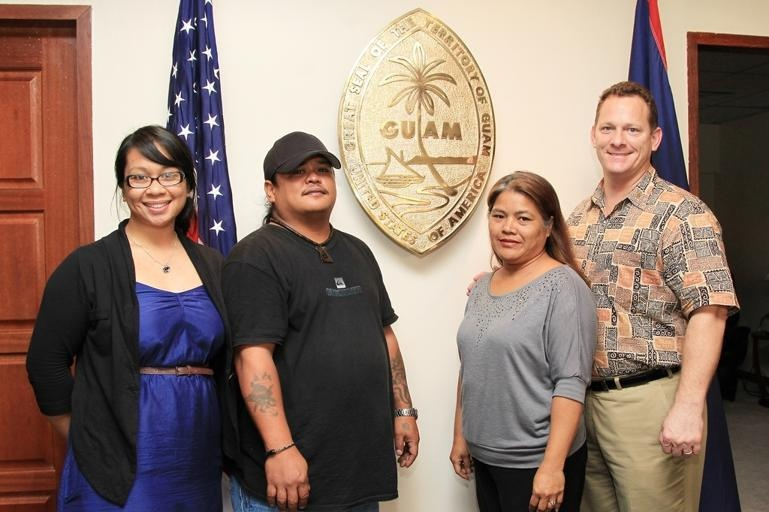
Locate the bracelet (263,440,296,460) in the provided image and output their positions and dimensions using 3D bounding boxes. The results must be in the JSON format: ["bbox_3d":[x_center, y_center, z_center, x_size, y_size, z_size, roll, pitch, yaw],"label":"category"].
[{"bbox_3d":[-0.411,0.811,2.679,0.093,0.024,0.075,-20,4,-7],"label":"bracelet"}]

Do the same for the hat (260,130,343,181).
[{"bbox_3d":[-0.346,-0.473,2.854,0.213,0.162,0.281,-12,-15,-41],"label":"hat"}]

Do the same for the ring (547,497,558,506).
[{"bbox_3d":[0.720,1.041,2.694,0.026,0.013,0.033,21,-38,-31],"label":"ring"}]

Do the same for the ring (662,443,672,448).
[{"bbox_3d":[1.220,0.823,2.763,0.019,0.015,0.020,0,3,0],"label":"ring"}]
